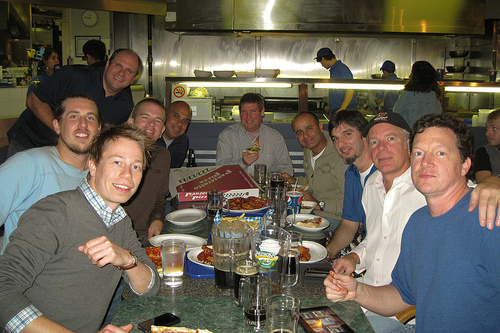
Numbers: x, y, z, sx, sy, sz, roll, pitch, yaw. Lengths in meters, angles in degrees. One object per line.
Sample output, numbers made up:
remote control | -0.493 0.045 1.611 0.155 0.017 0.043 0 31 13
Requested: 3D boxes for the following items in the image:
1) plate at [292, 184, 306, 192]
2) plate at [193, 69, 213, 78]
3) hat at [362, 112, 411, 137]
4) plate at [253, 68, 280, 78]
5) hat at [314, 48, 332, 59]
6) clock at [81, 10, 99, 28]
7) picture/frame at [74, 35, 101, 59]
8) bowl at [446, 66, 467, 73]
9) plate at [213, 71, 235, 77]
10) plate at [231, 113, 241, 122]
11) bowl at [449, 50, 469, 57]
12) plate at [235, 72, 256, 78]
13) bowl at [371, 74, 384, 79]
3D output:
plate | 0.462 0.207 4.106 0.101 0.068 0.099 2 7 12
plate | -0.662 -1.289 6.003 0.226 0.092 0.305 -3 15 -10
hat | 0.953 -0.339 3.143 0.219 0.122 0.264 1 -7 0
plate | 0.223 -1.276 5.912 0.311 0.109 0.196 -1 15 -2
hat | 1.169 -1.830 6.915 0.205 0.142 0.259 -19 19 -17
clock | -2.770 -2.555 7.469 0.298 0.267 0.040 0 17 5
picture/frame | -2.823 -2.088 7.525 0.553 0.376 0.040 7 8 21
bowl | 3.425 -1.617 7.225 0.268 0.112 0.414 5 16 21
plate | -0.369 -1.283 5.982 0.258 0.087 0.319 -1 15 0
plate | -0.204 -0.703 6.216 0.137 0.077 0.128 0 7 -6
bowl | 3.532 -1.907 7.333 0.260 0.115 0.336 7 17 28
plate | -0.064 -1.270 5.957 0.253 0.069 0.378 -1 15 0
bowl | 2.321 -1.645 7.893 0.230 0.071 0.233 0 8 0
